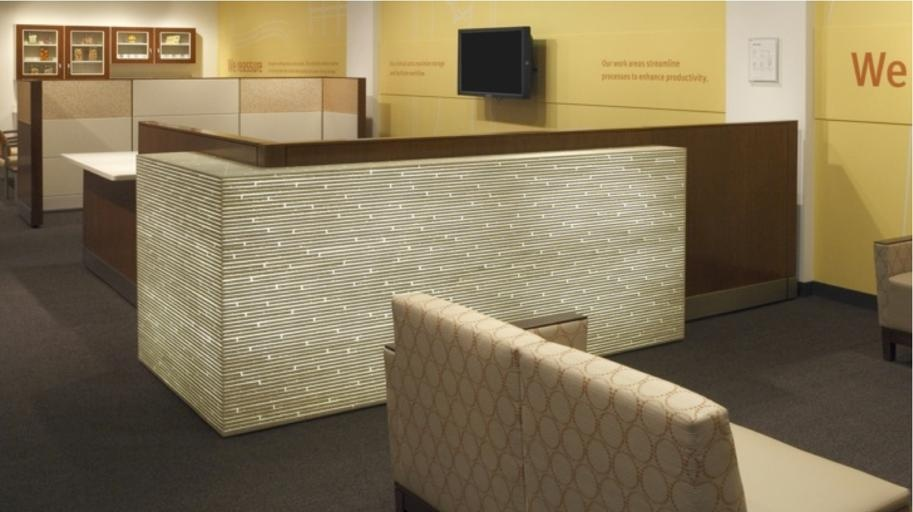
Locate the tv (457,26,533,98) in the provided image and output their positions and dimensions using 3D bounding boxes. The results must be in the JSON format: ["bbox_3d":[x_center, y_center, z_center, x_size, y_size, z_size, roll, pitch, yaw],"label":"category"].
[{"bbox_3d":[0.650,-3.170,9.924,0.491,1.122,1.532,-11,18,-32],"label":"tv"}]

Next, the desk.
[{"bbox_3d":[-3.853,-0.357,6.728,0.653,1.394,2.042,-11,18,-31],"label":"desk"}]
